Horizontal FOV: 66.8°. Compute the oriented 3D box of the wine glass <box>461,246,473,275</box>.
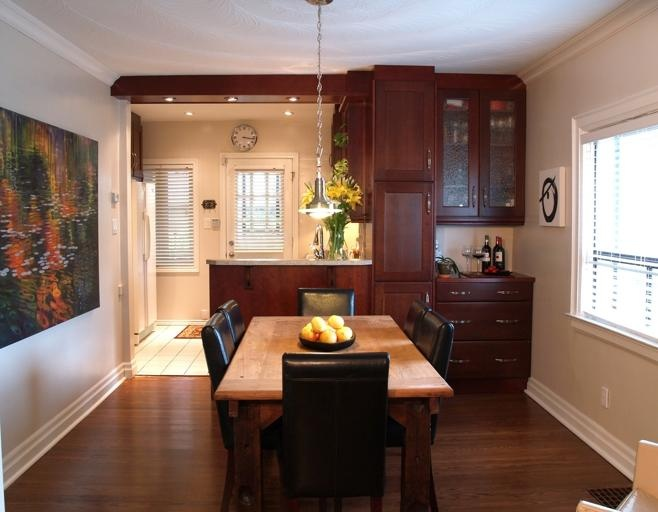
[{"bbox_3d":[1.310,0.034,4.727,0.115,0.277,0.320,3,11,15],"label":"wine glass"}]

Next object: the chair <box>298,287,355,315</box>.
[{"bbox_3d":[-0.027,0.364,3.912,0.360,0.271,0.205,0,-4,3],"label":"chair"}]

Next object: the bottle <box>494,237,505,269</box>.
[{"bbox_3d":[1.596,-0.022,4.698,0.097,0.297,0.283,3,11,18],"label":"bottle"}]

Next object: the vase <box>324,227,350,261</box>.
[{"bbox_3d":[0.059,-0.107,4.840,0.331,0.411,0.343,1,-2,-8],"label":"vase"}]

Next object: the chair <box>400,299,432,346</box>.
[{"bbox_3d":[0.564,0.446,3.458,0.216,0.424,0.232,4,6,0],"label":"chair"}]

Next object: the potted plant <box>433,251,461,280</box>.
[{"bbox_3d":[1.111,0.085,4.698,0.226,0.179,0.185,1,-1,-1],"label":"potted plant"}]

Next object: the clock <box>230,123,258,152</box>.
[{"bbox_3d":[-1.095,-1.530,6.483,0.298,0.335,0.071,2,3,-2],"label":"clock"}]

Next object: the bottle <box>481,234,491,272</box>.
[{"bbox_3d":[1.492,-0.026,4.727,0.099,0.321,0.316,3,11,17],"label":"bottle"}]

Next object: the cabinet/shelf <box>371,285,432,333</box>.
[{"bbox_3d":[0.651,0.543,4.460,0.505,0.519,0.324,1,6,0],"label":"cabinet/shelf"}]

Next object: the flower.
[{"bbox_3d":[0.074,-0.589,4.564,0.637,0.696,0.604,4,-6,-33],"label":"flower"}]
